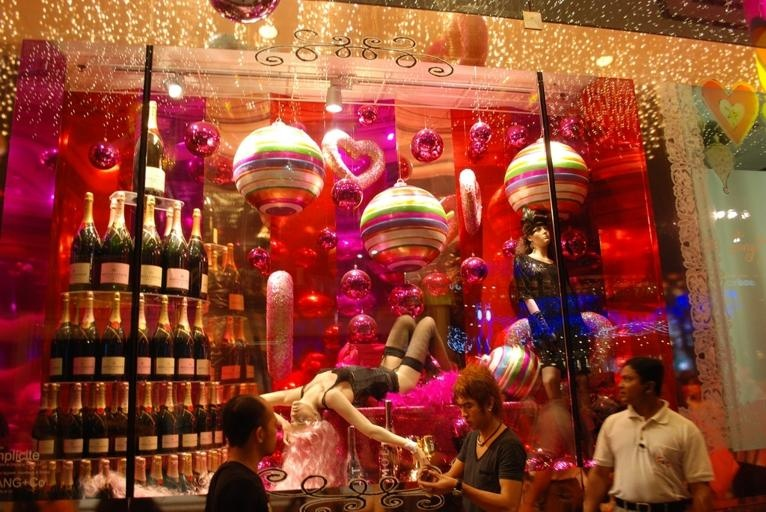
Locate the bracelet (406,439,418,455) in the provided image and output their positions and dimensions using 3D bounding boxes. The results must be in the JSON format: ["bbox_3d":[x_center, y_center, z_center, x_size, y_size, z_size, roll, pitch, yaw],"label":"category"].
[{"bbox_3d":[0.192,1.215,3.714,0.060,0.072,0.079,6,-41,-4],"label":"bracelet"}]

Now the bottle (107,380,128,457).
[{"bbox_3d":[-1.594,0.987,3.519,0.119,0.424,0.037,-4,-11,15],"label":"bottle"}]

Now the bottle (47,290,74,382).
[{"bbox_3d":[-1.967,0.491,3.567,0.118,0.525,0.077,5,-13,-30],"label":"bottle"}]

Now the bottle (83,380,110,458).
[{"bbox_3d":[-1.716,0.986,3.517,0.153,0.430,0.021,-2,-11,4],"label":"bottle"}]

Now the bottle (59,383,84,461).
[{"bbox_3d":[-1.863,0.989,3.512,0.133,0.431,0.030,-2,-11,4],"label":"bottle"}]

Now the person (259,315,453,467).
[{"bbox_3d":[-0.122,0.840,3.915,1.112,0.519,0.764,-15,6,-44],"label":"person"}]

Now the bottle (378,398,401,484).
[{"bbox_3d":[0.035,1.204,3.744,0.133,0.517,0.118,1,-11,-13],"label":"bottle"}]

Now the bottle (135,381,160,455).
[{"bbox_3d":[-1.442,0.995,3.578,0.130,0.423,0.048,3,-12,-22],"label":"bottle"}]

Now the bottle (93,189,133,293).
[{"bbox_3d":[-1.683,-0.052,3.669,0.206,0.538,0.080,-6,-12,23],"label":"bottle"}]

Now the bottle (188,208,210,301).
[{"bbox_3d":[-1.235,-0.027,3.917,0.136,0.617,0.044,3,-12,-20],"label":"bottle"}]

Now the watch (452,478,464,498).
[{"bbox_3d":[0.427,1.309,3.279,0.063,0.092,0.097,1,8,3],"label":"watch"}]

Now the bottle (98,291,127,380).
[{"bbox_3d":[-1.668,0.491,3.600,0.171,0.531,0.067,-3,-11,11],"label":"bottle"}]

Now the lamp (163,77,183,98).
[{"bbox_3d":[-1.389,-1.129,3.845,0.074,0.163,0.069,-11,-22,-4],"label":"lamp"}]

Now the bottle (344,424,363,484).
[{"bbox_3d":[-0.173,1.253,3.689,0.108,0.324,0.035,0,-11,-5],"label":"bottle"}]

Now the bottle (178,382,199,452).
[{"bbox_3d":[-1.225,1.011,3.684,0.113,0.411,0.035,1,-11,-9],"label":"bottle"}]

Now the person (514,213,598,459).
[{"bbox_3d":[1.160,0.491,3.947,0.480,1.673,0.129,-5,-12,17],"label":"person"}]

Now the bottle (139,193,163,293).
[{"bbox_3d":[-1.476,-0.092,3.743,0.140,0.649,0.098,6,-13,-33],"label":"bottle"}]

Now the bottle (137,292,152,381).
[{"bbox_3d":[-1.492,0.498,3.630,0.055,0.529,0.135,-4,-11,13],"label":"bottle"}]

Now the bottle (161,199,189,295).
[{"bbox_3d":[-1.355,-0.030,3.826,0.170,0.561,0.064,4,-12,-25],"label":"bottle"}]

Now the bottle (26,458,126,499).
[{"bbox_3d":[-1.789,1.324,3.458,0.513,0.223,0.034,-1,-11,-1],"label":"bottle"}]

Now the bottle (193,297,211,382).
[{"bbox_3d":[-1.182,0.543,3.811,0.129,0.515,0.041,3,-12,-19],"label":"bottle"}]

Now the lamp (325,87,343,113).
[{"bbox_3d":[-0.331,-1.106,4.163,0.135,0.159,0.138,-6,-16,13],"label":"lamp"}]

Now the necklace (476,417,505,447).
[{"bbox_3d":[0.625,1.022,3.362,0.128,0.169,0.043,21,-6,23],"label":"necklace"}]
